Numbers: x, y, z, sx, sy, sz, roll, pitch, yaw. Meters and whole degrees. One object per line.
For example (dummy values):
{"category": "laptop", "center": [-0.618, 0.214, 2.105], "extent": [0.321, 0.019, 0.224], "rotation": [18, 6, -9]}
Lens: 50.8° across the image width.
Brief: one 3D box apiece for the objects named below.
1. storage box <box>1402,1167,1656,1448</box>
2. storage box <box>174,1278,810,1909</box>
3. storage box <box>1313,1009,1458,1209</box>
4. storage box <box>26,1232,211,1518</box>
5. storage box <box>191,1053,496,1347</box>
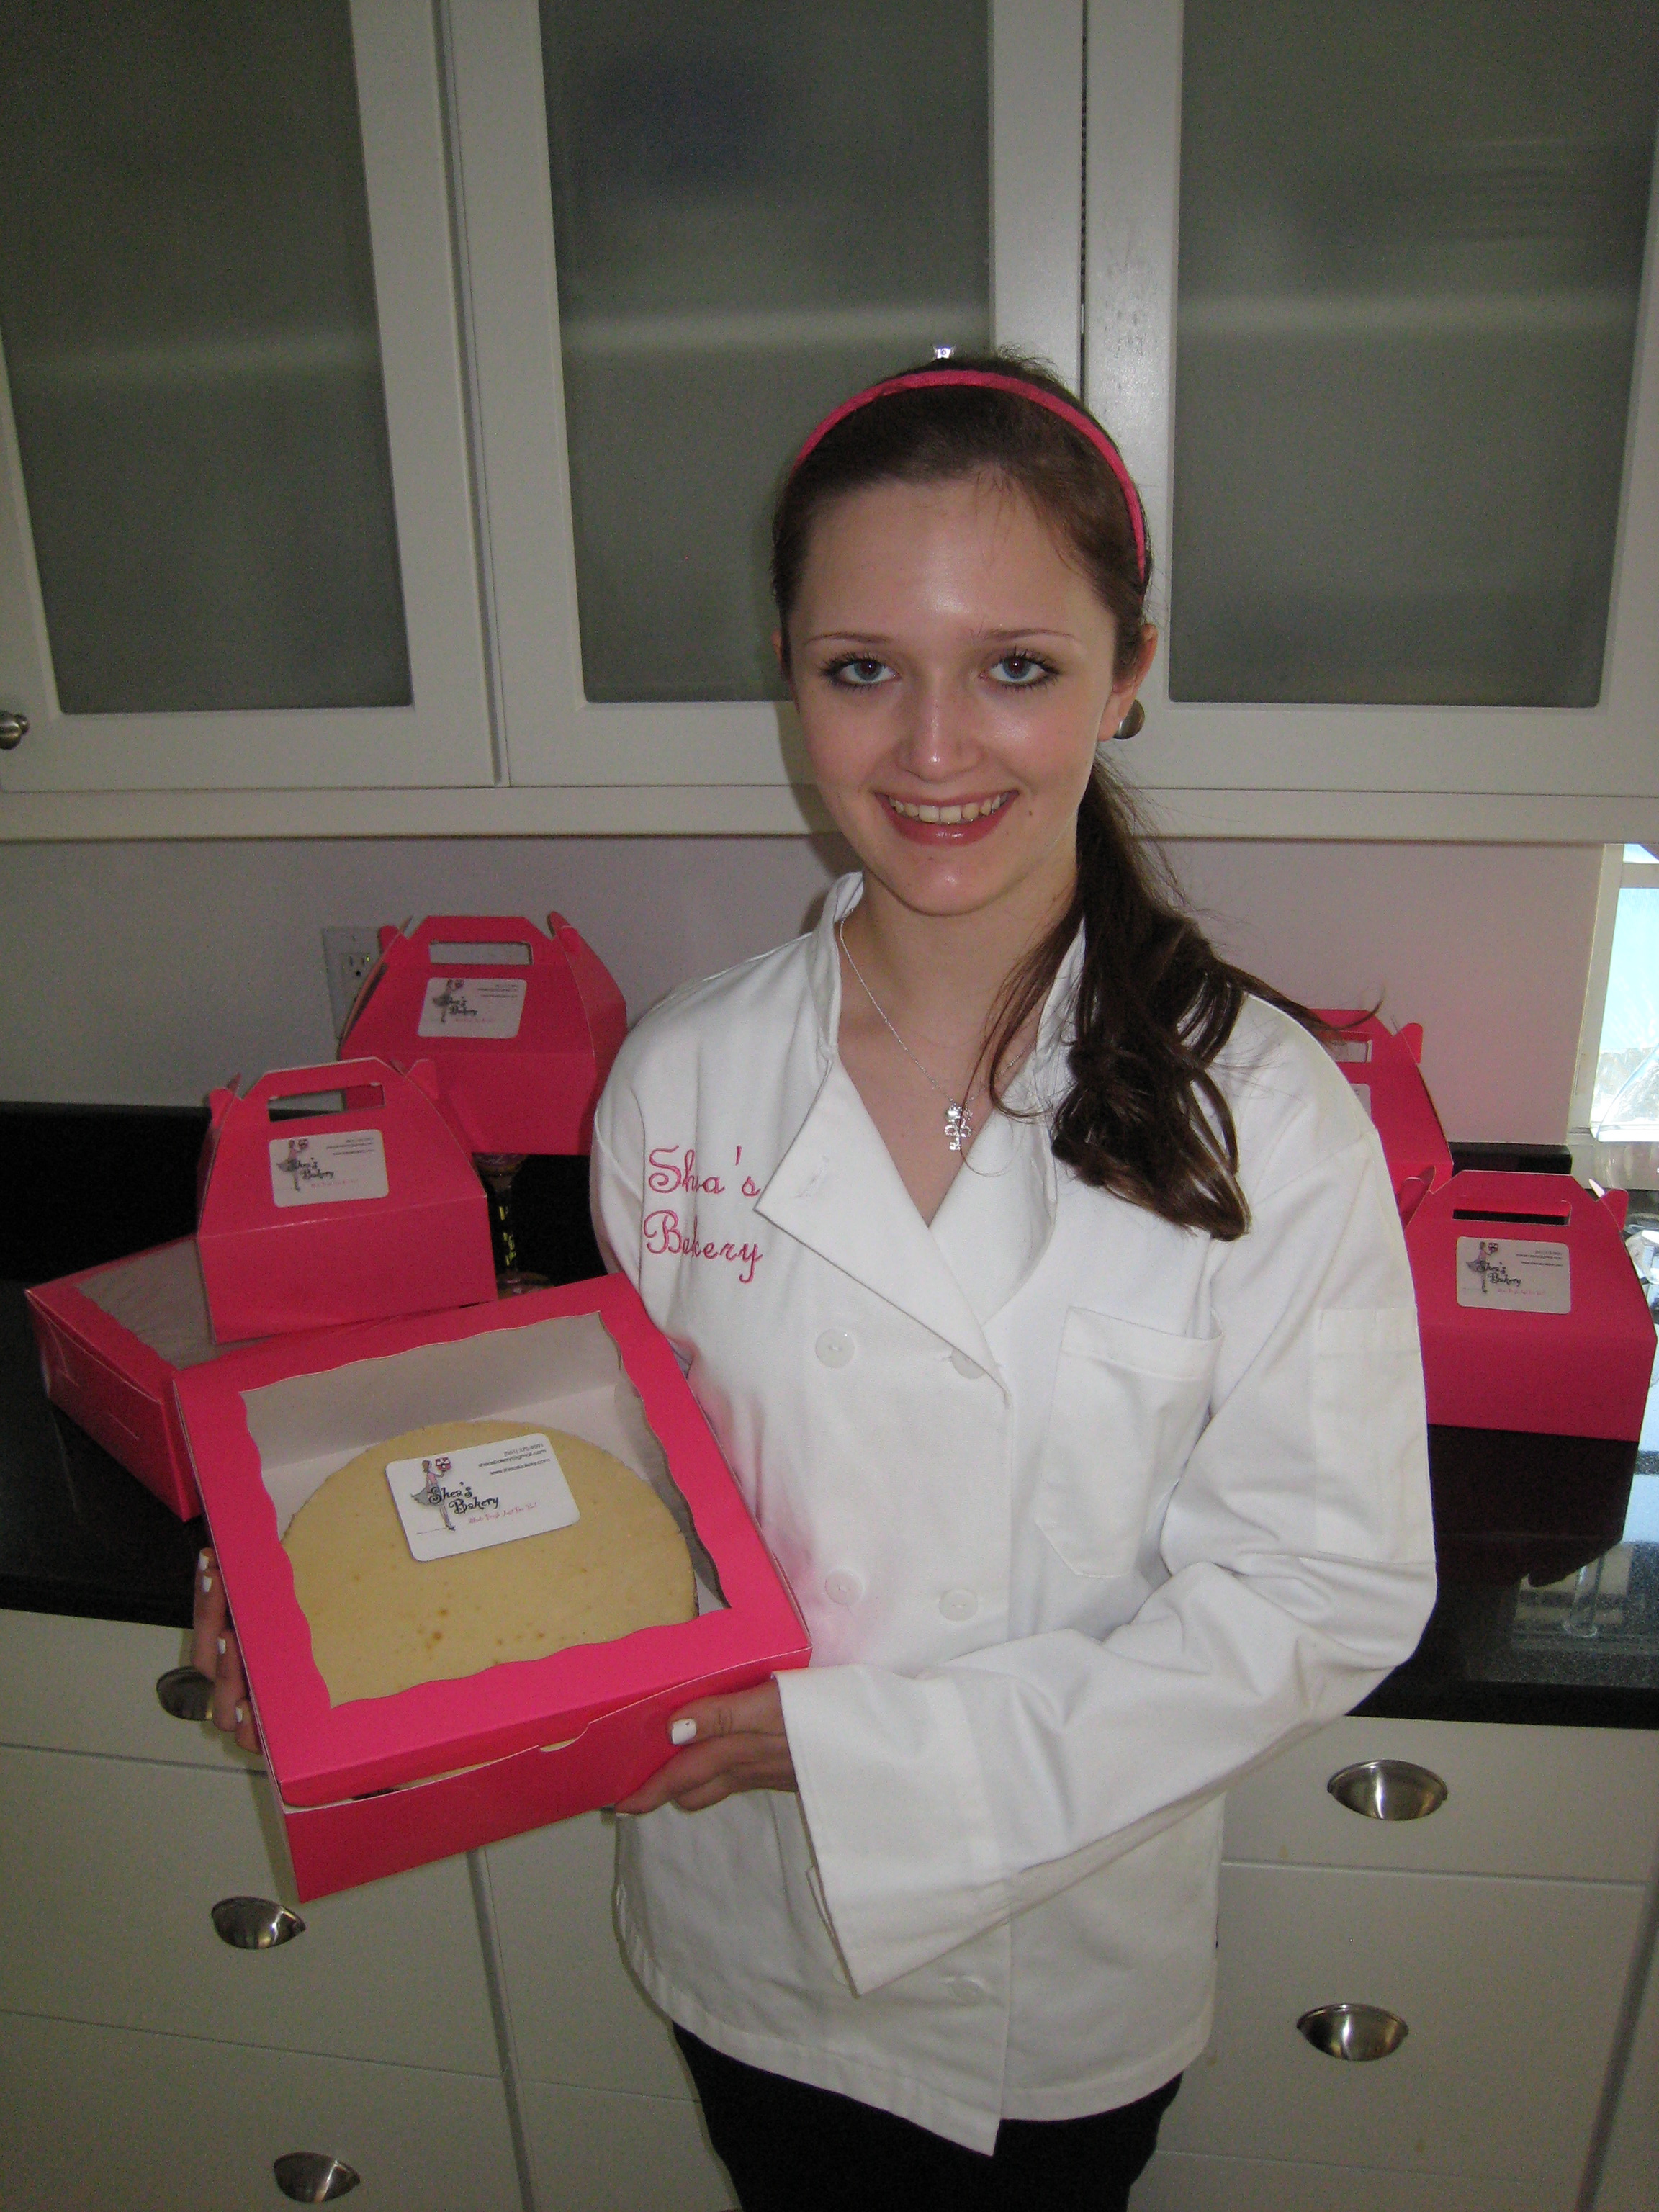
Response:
{"category": "storage box", "center": [0.563, 0.160, 1.427], "extent": [0.213, 0.216, 0.147], "rotation": [4, -7, 9]}
{"category": "storage box", "center": [-0.212, 0.270, 1.044], "extent": [0.288, 0.199, 0.363], "rotation": [-10, 23, -22]}
{"category": "storage box", "center": [0.493, 0.007, 1.545], "extent": [0.158, 0.201, 0.050], "rotation": [-4, -20, 2]}
{"category": "storage box", "center": [-0.576, 0.229, 1.418], "extent": [0.173, 0.107, 0.170], "rotation": [-20, 37, -39]}
{"category": "storage box", "center": [-0.411, 0.045, 1.483], "extent": [0.246, 0.207, 0.227], "rotation": [-6, 11, -22]}
